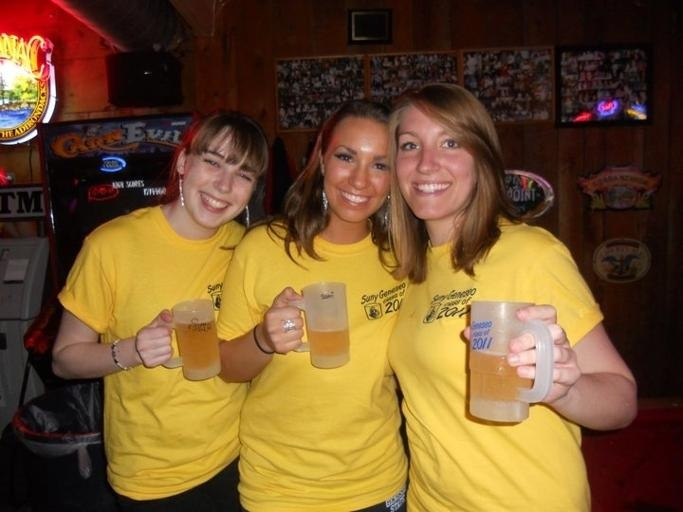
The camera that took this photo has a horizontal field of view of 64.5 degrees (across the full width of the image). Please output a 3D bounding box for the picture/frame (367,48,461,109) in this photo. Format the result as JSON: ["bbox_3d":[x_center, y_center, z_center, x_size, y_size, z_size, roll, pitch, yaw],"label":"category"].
[{"bbox_3d":[0.590,-1.564,4.602,0.792,0.021,0.490,-4,-22,4],"label":"picture/frame"}]

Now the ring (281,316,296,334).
[{"bbox_3d":[-0.236,0.297,2.337,0.077,0.073,0.023,-1,-1,-3],"label":"ring"}]

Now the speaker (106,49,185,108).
[{"bbox_3d":[-1.640,-1.498,4.554,0.804,0.557,0.432,-2,11,-17],"label":"speaker"}]

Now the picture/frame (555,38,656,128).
[{"bbox_3d":[2.229,-1.493,4.545,0.737,0.607,0.073,-1,6,2],"label":"picture/frame"}]

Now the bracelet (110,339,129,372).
[{"bbox_3d":[-1.032,0.458,2.467,0.033,0.127,0.120,-10,34,-41],"label":"bracelet"}]

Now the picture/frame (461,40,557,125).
[{"bbox_3d":[1.414,-1.456,4.601,0.787,0.638,0.070,-1,3,-2],"label":"picture/frame"}]

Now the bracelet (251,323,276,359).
[{"bbox_3d":[-0.355,0.385,2.437,0.114,0.143,0.070,2,4,0],"label":"bracelet"}]
